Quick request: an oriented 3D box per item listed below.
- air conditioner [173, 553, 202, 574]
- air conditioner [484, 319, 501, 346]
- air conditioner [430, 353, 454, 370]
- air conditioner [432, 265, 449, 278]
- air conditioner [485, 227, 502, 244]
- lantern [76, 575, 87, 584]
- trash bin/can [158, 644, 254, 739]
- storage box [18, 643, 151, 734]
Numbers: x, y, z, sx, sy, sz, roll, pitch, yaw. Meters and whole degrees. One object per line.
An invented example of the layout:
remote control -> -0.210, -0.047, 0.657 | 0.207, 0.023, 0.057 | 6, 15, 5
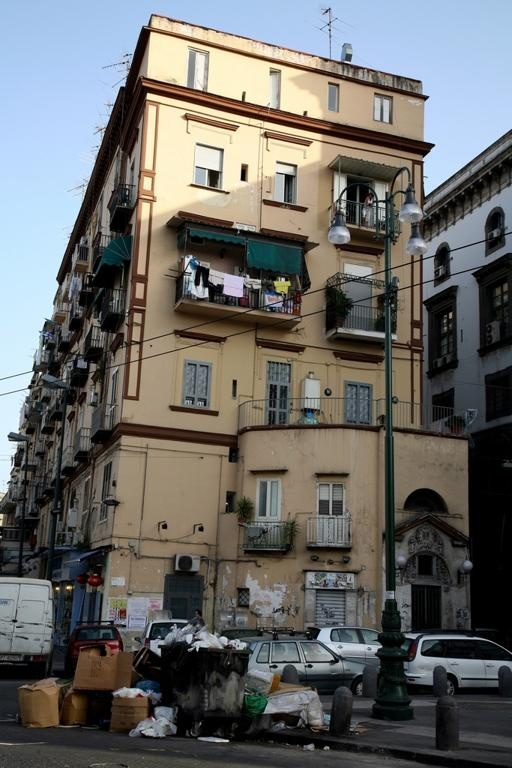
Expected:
air conditioner -> -2.366, 6.063, 28.052 | 1.079, 0.807, 0.618 | 3, -2, -12
air conditioner -> 10.647, -2.409, 36.664 | 0.398, 0.923, 0.963 | 7, -23, -10
air conditioner -> 9.304, -1.213, 40.739 | 0.210, 0.794, 2.290 | 5, -15, -13
air conditioner -> 9.590, -5.967, 42.363 | 0.398, 0.735, 0.719 | 10, -33, -18
air conditioner -> 10.883, -6.946, 37.414 | 0.562, 0.924, 1.304 | -1, -15, 11
lantern -> -6.101, 6.763, 28.714 | 0.379, 0.274, 0.386 | 1, -8, 30
trash bin/can -> -0.802, 4.304, 11.588 | 1.382, 1.238, 0.558 | -11, -20, 39
storage box -> -2.490, 4.427, 11.696 | 1.313, 0.994, 1.315 | 9, -16, -30
